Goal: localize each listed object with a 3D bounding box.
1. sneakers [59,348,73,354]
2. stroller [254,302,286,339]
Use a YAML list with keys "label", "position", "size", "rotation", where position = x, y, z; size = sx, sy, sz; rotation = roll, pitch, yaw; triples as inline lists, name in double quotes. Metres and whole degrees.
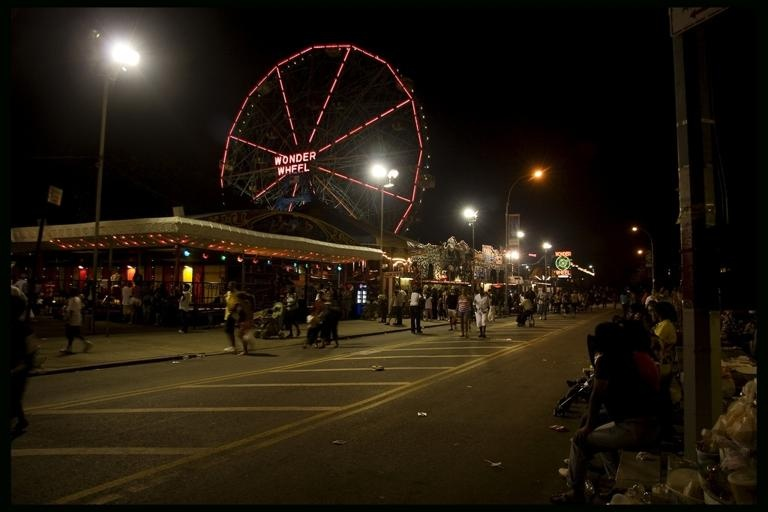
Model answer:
- label: "sneakers"
  position: [-8.778, 2.620, 16.473]
  size: [0.345, 0.241, 0.127]
  rotation: [2, -6, 19]
- label: "stroller"
  position: [-4.142, 2.406, 21.975]
  size: [1.097, 1.404, 1.255]
  rotation: [-6, -11, 32]
